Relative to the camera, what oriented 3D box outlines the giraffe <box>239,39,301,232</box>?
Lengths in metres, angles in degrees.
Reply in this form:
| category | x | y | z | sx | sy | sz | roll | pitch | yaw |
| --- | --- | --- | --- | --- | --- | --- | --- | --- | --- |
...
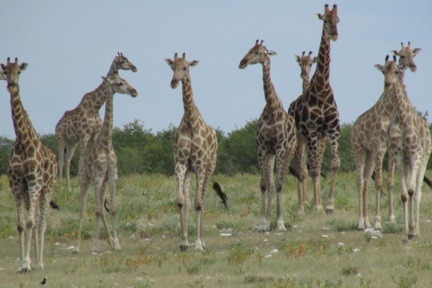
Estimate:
| category | x | y | z | sx | sy | sz | roll | pitch | yaw |
| --- | --- | --- | --- | --- | --- | --- | --- | --- | --- |
| giraffe | 1.946 | -0.224 | 26.192 | 1.245 | 6.477 | 2.334 | -6 | -8 | 24 |

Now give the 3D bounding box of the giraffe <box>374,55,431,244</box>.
| category | x | y | z | sx | sy | sz | roll | pitch | yaw |
| --- | --- | --- | --- | --- | --- | --- | --- | --- | --- |
| giraffe | 6.098 | 0.150 | 24.118 | 1.486 | 5.879 | 1.764 | -5 | -7 | 16 |

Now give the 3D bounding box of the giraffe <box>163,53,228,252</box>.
| category | x | y | z | sx | sy | sz | roll | pitch | yaw |
| --- | --- | --- | --- | --- | --- | --- | --- | --- | --- |
| giraffe | -0.782 | 0.297 | 24.414 | 1.604 | 6.276 | 1.248 | 0 | -8 | -22 |

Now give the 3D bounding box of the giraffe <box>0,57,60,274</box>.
| category | x | y | z | sx | sy | sz | roll | pitch | yaw |
| --- | --- | --- | --- | --- | --- | --- | --- | --- | --- |
| giraffe | -5.798 | 0.671 | 23.088 | 0.806 | 6.397 | 1.718 | -8 | -9 | 36 |
